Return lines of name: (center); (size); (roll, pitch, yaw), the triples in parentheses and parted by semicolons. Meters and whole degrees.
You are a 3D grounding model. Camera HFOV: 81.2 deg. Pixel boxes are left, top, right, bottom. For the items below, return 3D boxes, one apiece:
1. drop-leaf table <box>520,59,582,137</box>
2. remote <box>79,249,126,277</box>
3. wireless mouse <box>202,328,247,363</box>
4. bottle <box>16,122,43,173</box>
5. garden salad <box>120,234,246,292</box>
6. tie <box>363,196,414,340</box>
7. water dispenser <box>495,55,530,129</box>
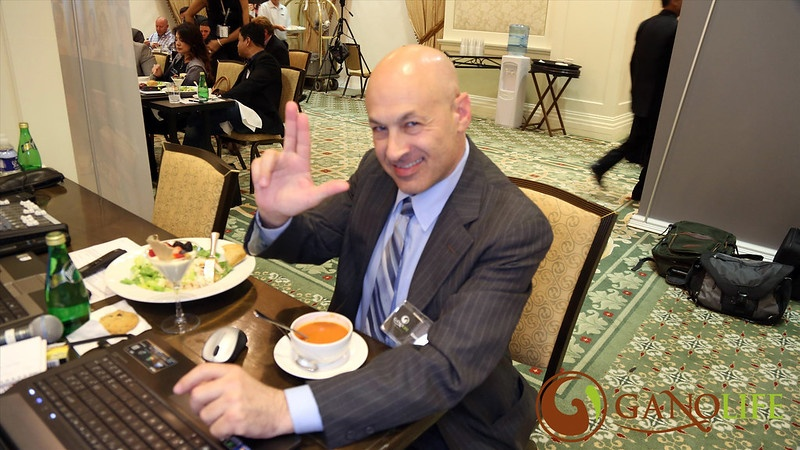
drop-leaf table: (2.334, -2.066, 7.284); (0.735, 1.363, 0.618); (2, 2, -22)
remote: (-1.322, 0.169, 2.125); (0.064, 0.053, 0.229); (25, 32, 16)
wireless mouse: (-0.653, 0.457, 1.757); (0.104, 0.048, 0.146); (19, 49, 21)
bottle: (-2.211, -0.459, 2.757); (0.107, 0.268, 0.294); (-21, 34, -36)
garden salad: (-0.955, 0.136, 2.038); (0.342, 0.247, 0.240); (2, 3, -36)
tie: (-0.048, 0.201, 2.039); (0.129, 0.370, 0.511); (21, 61, -22)
water dispenser: (1.789, -2.205, 7.772); (0.555, 1.136, 0.635); (19, 29, 30)
